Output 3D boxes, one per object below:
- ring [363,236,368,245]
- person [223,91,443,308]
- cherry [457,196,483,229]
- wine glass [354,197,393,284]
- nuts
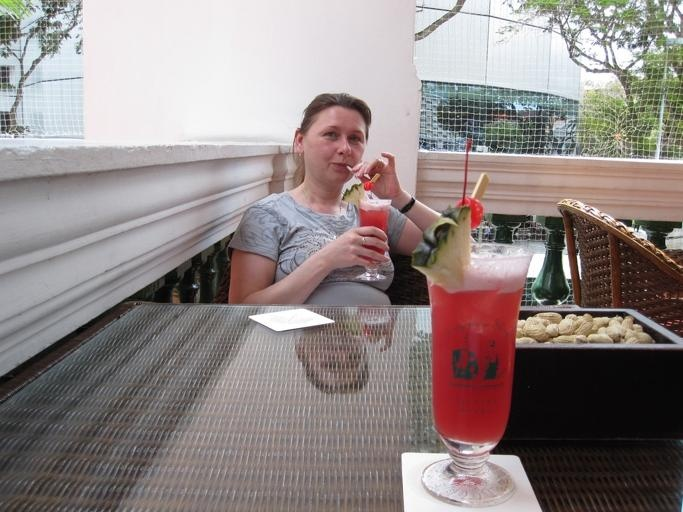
[{"bbox_3d":[0.085,-0.058,1.693,0.016,0.025,0.004,7,13,30],"label":"ring"},{"bbox_3d":[-0.068,-0.154,1.996,0.656,1.118,0.707,-1,9,-14],"label":"person"},{"bbox_3d":[0.171,-0.057,0.612,0.026,0.039,0.078,4,11,17],"label":"cherry"},{"bbox_3d":[0.121,-0.151,1.730,0.105,0.124,0.113,1,11,1],"label":"wine glass"},{"bbox_3d":[0.389,0.100,0.763,0.153,0.048,0.141,-5,6,-13],"label":"nuts"}]
